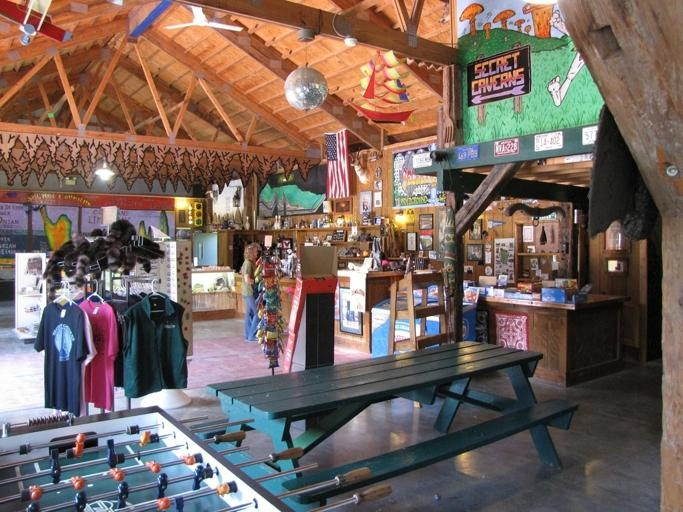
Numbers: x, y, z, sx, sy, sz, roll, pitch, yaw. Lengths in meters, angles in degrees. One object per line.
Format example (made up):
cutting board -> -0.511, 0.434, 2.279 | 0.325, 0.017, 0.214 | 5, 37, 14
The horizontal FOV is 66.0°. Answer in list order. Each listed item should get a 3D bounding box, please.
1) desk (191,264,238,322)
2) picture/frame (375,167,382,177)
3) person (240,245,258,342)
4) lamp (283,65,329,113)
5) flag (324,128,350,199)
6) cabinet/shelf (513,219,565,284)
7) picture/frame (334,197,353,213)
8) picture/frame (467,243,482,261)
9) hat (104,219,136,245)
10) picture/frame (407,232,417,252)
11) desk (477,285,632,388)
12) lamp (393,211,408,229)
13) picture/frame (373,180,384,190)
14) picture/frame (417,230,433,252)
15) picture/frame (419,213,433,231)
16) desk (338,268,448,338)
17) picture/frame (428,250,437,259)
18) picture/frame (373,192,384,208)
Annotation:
desk -> -3.307, 0.965, 12.531 | 1.167, 1.076, 0.883 | -1, -2, -41
picture/frame -> 0.845, -1.946, 12.309 | 0.044, 0.180, 0.183 | 4, 3, -43
person -> -1.677, 0.640, 9.463 | 0.280, 1.732, 0.793 | -1, 3, -11
lamp -> -0.434, -2.006, 6.223 | 0.433, 0.517, 0.387 | 1, 4, 14
flag -> -0.115, -2.148, 12.457 | 0.569, 1.474, 1.030 | 0, 4, -1
cabinet/shelf -> 3.587, -0.072, 9.320 | 0.520, 1.138, 1.511 | 0, 4, -6
picture/frame -> 0.012, -1.277, 13.355 | 0.077, 0.379, 0.695 | -2, 4, -35
picture/frame -> 2.703, -0.093, 10.710 | 0.045, 0.287, 0.341 | -4, 8, -29
hat -> -2.096, -0.220, 4.945 | 0.208, 0.228, 0.381 | 0, 4, -2
picture/frame -> 1.551, -0.322, 11.696 | 0.054, 0.531, 0.404 | 4, -6, -35
desk -> 3.042, 0.856, 7.361 | 1.254, 0.864, 1.621 | 1, -1, -41
lamp -> 1.347, -0.815, 11.833 | 0.425, 0.419, 0.194 | 1, 4, 15
picture/frame -> 0.847, -1.653, 12.315 | 0.030, 0.201, 0.233 | 3, -4, -31
picture/frame -> 1.802, -0.332, 11.362 | 0.067, 0.497, 0.447 | 3, -4, -28
picture/frame -> 1.818, -0.726, 11.331 | 0.039, 0.358, 0.392 | 2, -1, -29
desk -> 0.684, 0.621, 9.424 | 1.546, 1.388, 1.157 | -1, 0, -39
picture/frame -> 1.933, -0.032, 11.227 | 0.020, 0.187, 0.189 | -6, 8, -41
picture/frame -> 0.858, -1.314, 12.308 | 0.047, 0.466, 0.362 | 3, -4, -32
